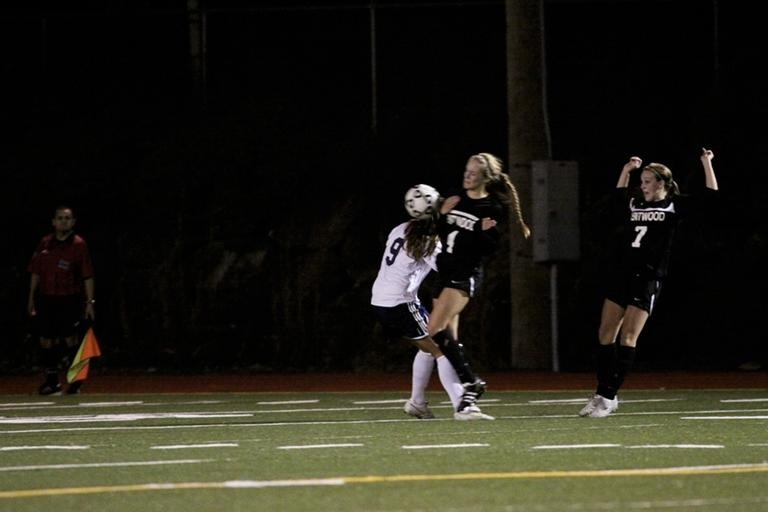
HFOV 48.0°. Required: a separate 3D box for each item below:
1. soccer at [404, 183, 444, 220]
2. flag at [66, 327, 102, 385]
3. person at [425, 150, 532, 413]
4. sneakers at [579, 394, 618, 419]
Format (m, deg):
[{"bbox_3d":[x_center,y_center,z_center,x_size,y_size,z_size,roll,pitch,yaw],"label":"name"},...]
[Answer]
[{"bbox_3d":[0.453,-0.648,9.802,0.449,0.308,0.401,-16,-10,30],"label":"soccer"},{"bbox_3d":[-4.394,1.450,12.591,0.422,0.829,0.357,1,6,-19],"label":"flag"},{"bbox_3d":[0.989,0.272,9.796,0.631,2.869,0.985,7,7,38],"label":"person"},{"bbox_3d":[2.492,1.728,10.066,0.512,0.177,0.206,-2,0,-35],"label":"sneakers"}]
